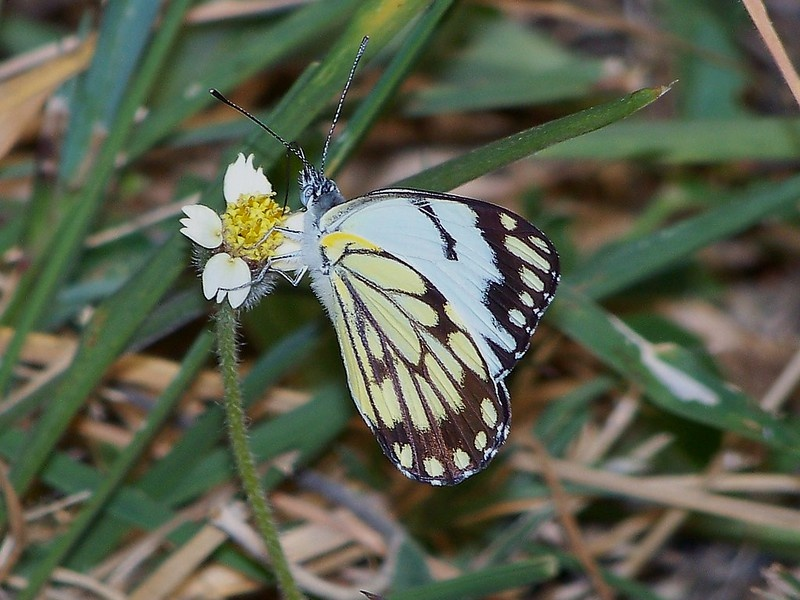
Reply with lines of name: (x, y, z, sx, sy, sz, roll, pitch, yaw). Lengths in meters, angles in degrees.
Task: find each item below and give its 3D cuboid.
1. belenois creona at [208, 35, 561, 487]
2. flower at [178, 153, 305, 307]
belenois creona: (0.105, 0.000, 2.752, 0.886, 1.471, 1.255, -8, 27, 8)
flower: (-0.460, -0.199, 2.516, 0.357, 0.435, 0.176, -16, 12, -41)
